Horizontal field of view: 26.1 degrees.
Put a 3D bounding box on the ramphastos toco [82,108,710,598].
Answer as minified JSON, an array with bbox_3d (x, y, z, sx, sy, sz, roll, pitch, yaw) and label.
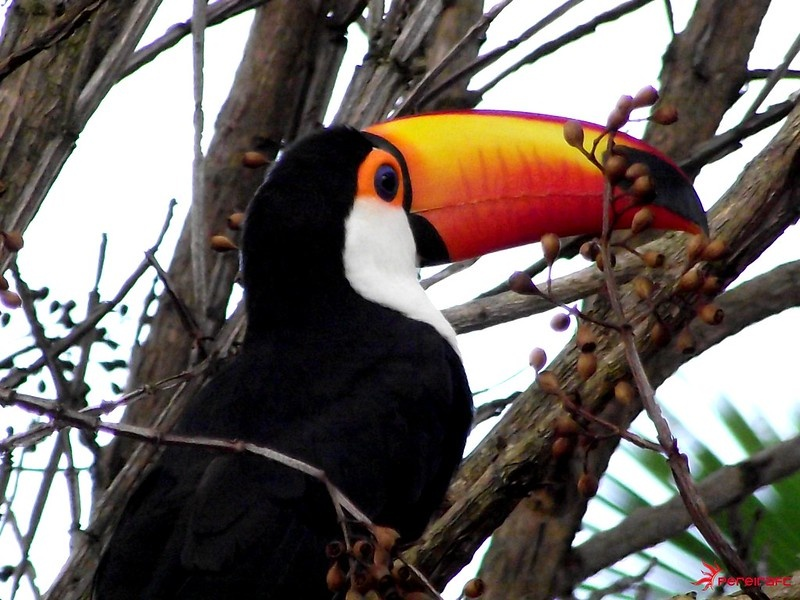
[{"bbox_3d":[-0.090,0.206,6.195,2.386,2.143,1.491,0,3,-38],"label":"ramphastos toco"}]
